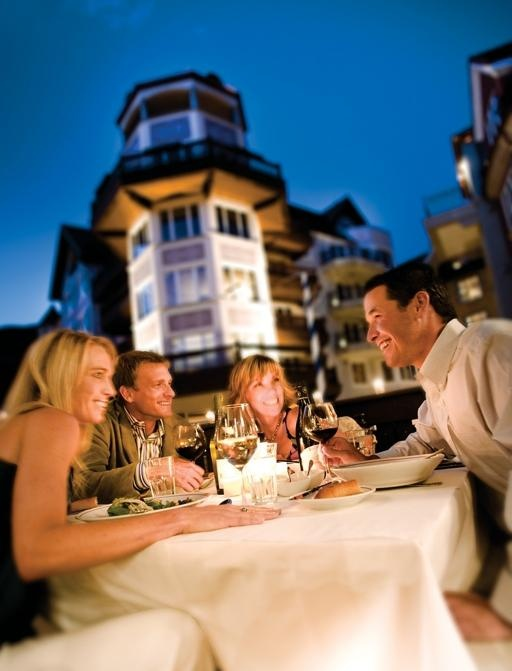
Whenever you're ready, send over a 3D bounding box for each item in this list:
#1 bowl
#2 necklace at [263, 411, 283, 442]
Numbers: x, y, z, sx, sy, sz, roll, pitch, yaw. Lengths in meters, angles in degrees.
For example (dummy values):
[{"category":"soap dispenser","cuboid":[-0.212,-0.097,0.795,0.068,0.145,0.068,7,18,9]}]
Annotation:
[{"category":"bowl","cuboid":[0.284,0.282,1.074,0.129,0.030,0.123,-10,-12,-2]},{"category":"necklace","cuboid":[0.087,0.438,2.495,0.037,0.121,0.090,23,-18,-21]}]
